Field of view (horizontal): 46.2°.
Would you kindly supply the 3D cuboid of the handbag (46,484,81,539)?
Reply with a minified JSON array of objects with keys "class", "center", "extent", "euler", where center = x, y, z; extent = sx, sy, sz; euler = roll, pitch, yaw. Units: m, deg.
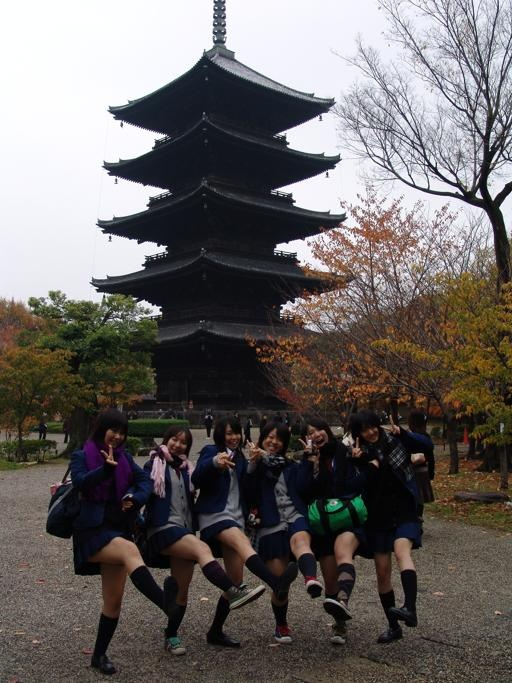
[{"class":"handbag","center":[-1.138,0.962,3.412],"extent":[0.147,0.284,0.211],"euler":[10,-11,23]}]

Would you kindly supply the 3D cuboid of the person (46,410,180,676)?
[{"class":"person","center":[-0.821,1.103,3.384],"extent":[0.795,1.415,0.509],"euler":[-7,-12,34]}]

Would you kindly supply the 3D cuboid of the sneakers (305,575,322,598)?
[{"class":"sneakers","center":[0.328,1.367,3.362],"extent":[0.076,0.089,0.207],"euler":[-13,-36,-10]}]

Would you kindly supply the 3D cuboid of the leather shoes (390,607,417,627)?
[{"class":"leather shoes","center":[0.838,1.580,3.429],"extent":[0.122,0.130,0.199],"euler":[0,-10,-2]}]

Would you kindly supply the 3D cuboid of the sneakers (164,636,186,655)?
[{"class":"sneakers","center":[-0.477,1.783,3.500],"extent":[0.059,0.063,0.160],"euler":[7,-21,-28]}]

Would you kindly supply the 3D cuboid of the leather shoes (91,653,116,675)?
[{"class":"leather shoes","center":[-0.829,1.734,3.239],"extent":[0.063,0.077,0.182],"euler":[8,-14,-38]}]

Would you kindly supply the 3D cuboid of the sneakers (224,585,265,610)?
[{"class":"sneakers","center":[-0.072,1.425,3.360],"extent":[0.200,0.145,0.326],"euler":[0,-10,-4]}]

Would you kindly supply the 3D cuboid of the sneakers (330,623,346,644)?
[{"class":"sneakers","center":[0.507,1.808,3.722],"extent":[0.092,0.141,0.216],"euler":[-2,-10,9]}]

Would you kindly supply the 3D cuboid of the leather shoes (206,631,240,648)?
[{"class":"leather shoes","center":[-0.208,1.846,3.691],"extent":[0.226,0.087,0.075],"euler":[-4,-9,17]}]

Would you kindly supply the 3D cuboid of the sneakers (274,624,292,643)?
[{"class":"sneakers","center":[0.172,1.803,3.679],"extent":[0.058,0.070,0.168],"euler":[4,-22,-17]}]
